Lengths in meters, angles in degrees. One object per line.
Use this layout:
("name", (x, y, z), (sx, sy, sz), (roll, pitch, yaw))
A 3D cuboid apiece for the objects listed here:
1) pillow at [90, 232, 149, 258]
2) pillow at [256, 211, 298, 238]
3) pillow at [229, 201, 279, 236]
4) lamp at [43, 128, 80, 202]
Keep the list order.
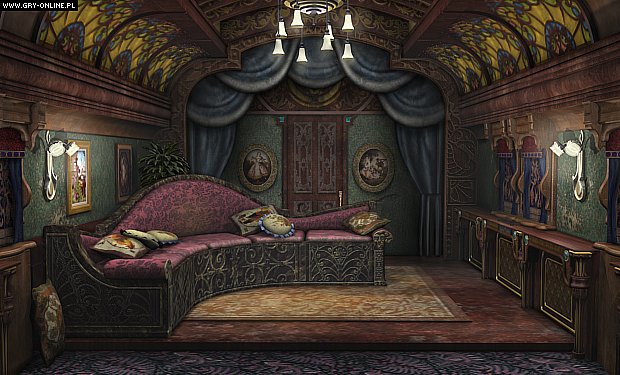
("pillow", (-2.661, 0.823, 5.841), (0.411, 0.121, 0.395), (12, 11, -11))
("pillow", (-0.625, 0.665, 7.690), (0.681, 0.188, 0.699), (34, 34, 22))
("pillow", (-1.027, 0.565, 7.754), (0.632, 0.184, 0.499), (-15, 56, -21))
("lamp", (-3.603, -0.335, 6.049), (0.270, 0.993, 0.660), (-1, 10, -6))
